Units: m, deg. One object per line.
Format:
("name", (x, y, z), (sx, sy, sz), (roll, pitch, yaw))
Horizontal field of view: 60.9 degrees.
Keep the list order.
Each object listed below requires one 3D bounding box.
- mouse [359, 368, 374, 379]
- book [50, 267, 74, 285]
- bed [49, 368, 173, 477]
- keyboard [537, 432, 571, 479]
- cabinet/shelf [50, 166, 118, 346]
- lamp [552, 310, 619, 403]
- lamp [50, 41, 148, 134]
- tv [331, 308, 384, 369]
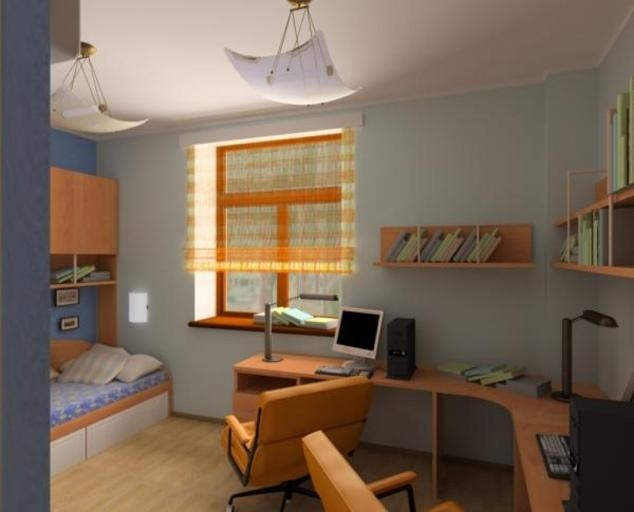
("mouse", (0.330, 0.761, 3.500), (0.066, 0.021, 0.065), (-2, 2, -32))
("book", (-2.061, 0.168, 4.343), (0.167, 0.114, 0.142), (-4, 7, -28))
("bed", (-1.476, 1.246, 3.951), (0.994, 0.259, 0.930), (-1, 0, 25))
("keyboard", (1.066, 0.891, 2.387), (0.125, 0.028, 0.333), (-3, 10, 13))
("cabinet/shelf", (-1.984, 0.058, 4.534), (0.297, 1.540, 0.805), (0, 6, 8))
("lamp", (1.519, 0.552, 3.086), (0.277, 0.577, 0.771), (2, 7, 24))
("lamp", (-1.460, -1.052, 3.369), (0.632, 0.466, 0.470), (23, 19, 26))
("tv", (0.280, 0.562, 3.731), (0.313, 0.376, 0.210), (5, -3, 20))
